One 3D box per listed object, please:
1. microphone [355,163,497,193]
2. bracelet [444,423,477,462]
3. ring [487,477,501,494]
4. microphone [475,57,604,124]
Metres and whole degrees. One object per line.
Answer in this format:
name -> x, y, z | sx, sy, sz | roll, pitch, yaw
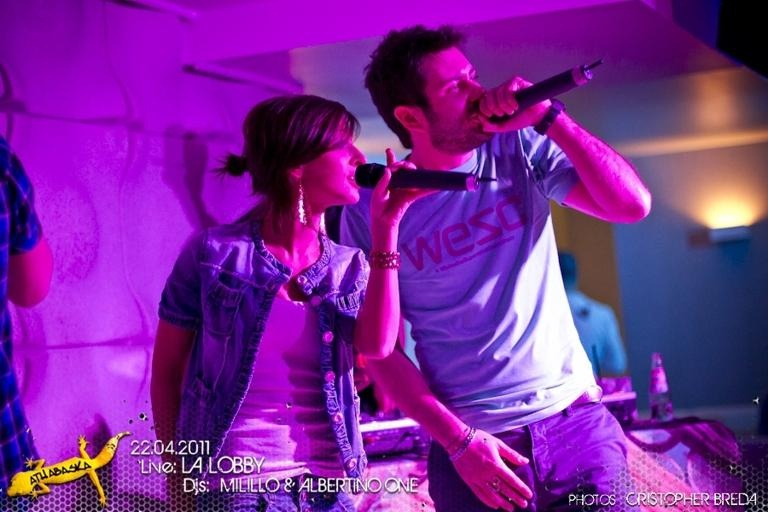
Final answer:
microphone -> 0.116, -0.235, 2.184 | 0.360, 0.079, 0.079 | 4, -22, 23
bracelet -> 0.237, 0.584, 2.262 | 0.095, 0.028, 0.094 | -41, -21, -40
ring -> 0.339, 0.713, 2.238 | 0.028, 0.042, 0.011 | -40, -3, 11
microphone -> 0.435, -0.505, 2.217 | 0.105, 0.120, 0.465 | 2, -14, -35
